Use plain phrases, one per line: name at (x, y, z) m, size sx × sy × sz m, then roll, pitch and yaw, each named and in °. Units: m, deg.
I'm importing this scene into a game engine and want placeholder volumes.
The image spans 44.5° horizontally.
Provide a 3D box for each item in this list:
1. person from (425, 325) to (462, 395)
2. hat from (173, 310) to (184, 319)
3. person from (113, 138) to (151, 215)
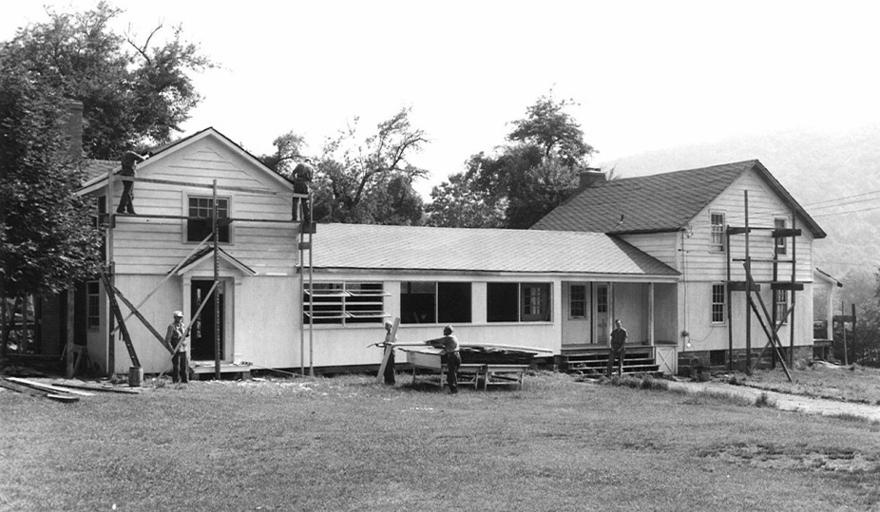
person at (0.283, 4.053, 42.653) m, size 1.207 × 2.740 × 1.339 m, roll 0°, pitch -9°, yaw -1°
hat at (-10.364, 2.288, 42.352) m, size 0.453 × 0.217 × 0.339 m, roll -2°, pitch 1°, yaw 14°
person at (-12.422, -3.027, 43.223) m, size 0.976 × 2.748 × 1.092 m, roll 3°, pitch -10°, yaw -16°
